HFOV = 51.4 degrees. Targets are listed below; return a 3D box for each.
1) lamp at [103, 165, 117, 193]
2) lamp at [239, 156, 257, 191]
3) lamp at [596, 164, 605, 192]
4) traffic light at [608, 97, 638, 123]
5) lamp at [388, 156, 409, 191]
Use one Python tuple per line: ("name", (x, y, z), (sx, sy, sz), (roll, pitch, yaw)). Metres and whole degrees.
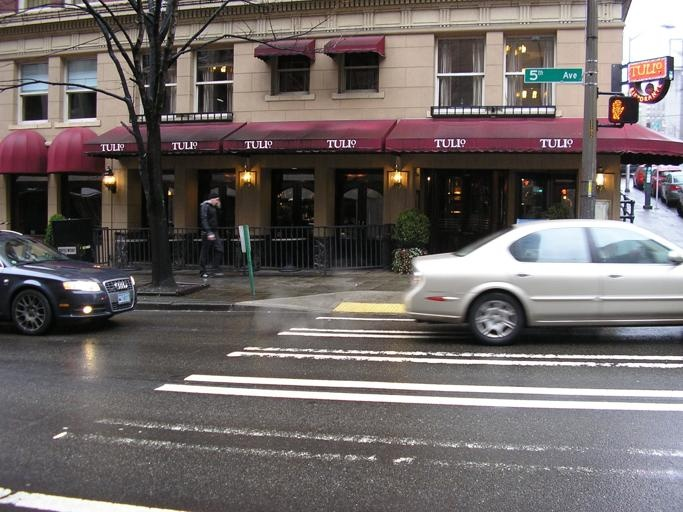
("lamp", (-7.582, -2.471, 23.147), (0.459, 0.831, 0.380), (-3, 10, -15))
("lamp", (-2.950, -2.658, 22.295), (0.525, 0.948, 0.568), (8, 24, 12))
("lamp", (7.262, -2.200, 19.929), (0.265, 0.768, 0.111), (-3, 9, -18))
("traffic light", (5.753, -2.988, 14.488), (0.481, 0.526, 0.174), (0, 1, 4))
("lamp", (1.678, -2.454, 21.114), (0.632, 0.994, 0.282), (0, 9, 3))
